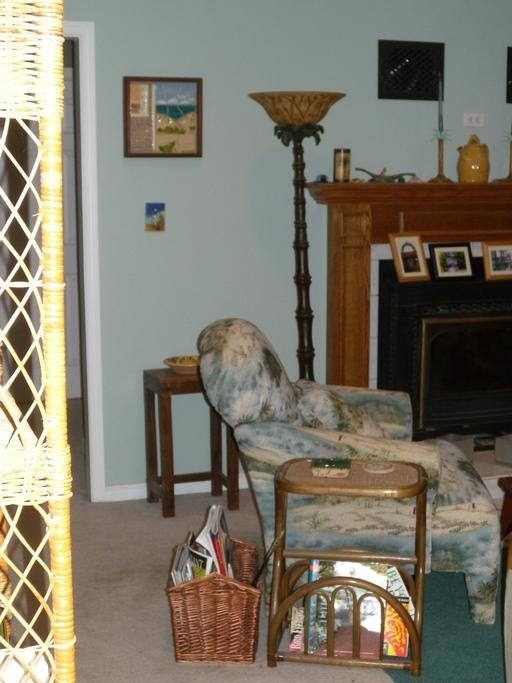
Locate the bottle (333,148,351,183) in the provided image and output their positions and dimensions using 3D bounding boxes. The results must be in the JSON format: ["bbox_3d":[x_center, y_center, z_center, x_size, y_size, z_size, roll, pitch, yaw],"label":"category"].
[{"bbox_3d":[0.420,-0.858,3.391,0.069,0.175,0.102,-1,7,-1],"label":"bottle"}]

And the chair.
[{"bbox_3d":[0.301,0.338,2.587,1.187,1.030,0.879,-3,13,2],"label":"chair"}]

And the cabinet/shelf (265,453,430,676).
[{"bbox_3d":[0.198,0.611,2.192,0.604,0.643,0.535,2,6,7],"label":"cabinet/shelf"}]

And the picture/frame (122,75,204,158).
[{"bbox_3d":[-0.455,-1.070,3.255,0.421,0.397,0.033,-4,9,-19],"label":"picture/frame"}]

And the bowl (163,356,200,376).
[{"bbox_3d":[-0.358,0.113,3.322,0.165,0.069,0.242,-1,6,-8],"label":"bowl"}]

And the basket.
[{"bbox_3d":[-0.128,0.784,2.137,0.247,0.224,0.358,-1,9,1],"label":"basket"}]

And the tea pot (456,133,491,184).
[{"bbox_3d":[1.128,-0.940,3.605,0.158,0.256,0.209,1,7,14],"label":"tea pot"}]
